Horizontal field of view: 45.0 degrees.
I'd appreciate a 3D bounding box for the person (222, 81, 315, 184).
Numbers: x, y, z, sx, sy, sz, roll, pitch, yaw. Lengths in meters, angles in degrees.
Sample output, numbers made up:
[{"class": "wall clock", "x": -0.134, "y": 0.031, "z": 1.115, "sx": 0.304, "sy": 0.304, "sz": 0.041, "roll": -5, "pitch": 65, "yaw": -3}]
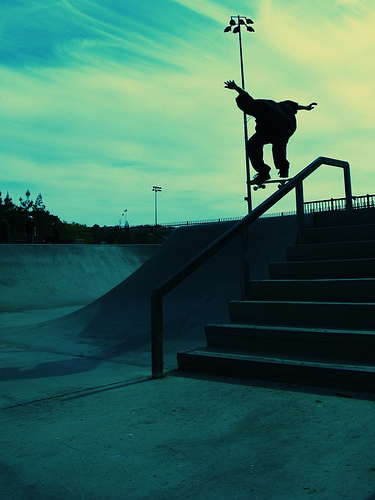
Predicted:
[{"class": "person", "x": 1.338, "y": -1.941, "z": 7.347, "sx": 1.196, "sy": 1.534, "sz": 0.615, "roll": -4, "pitch": -3, "yaw": 4}]
